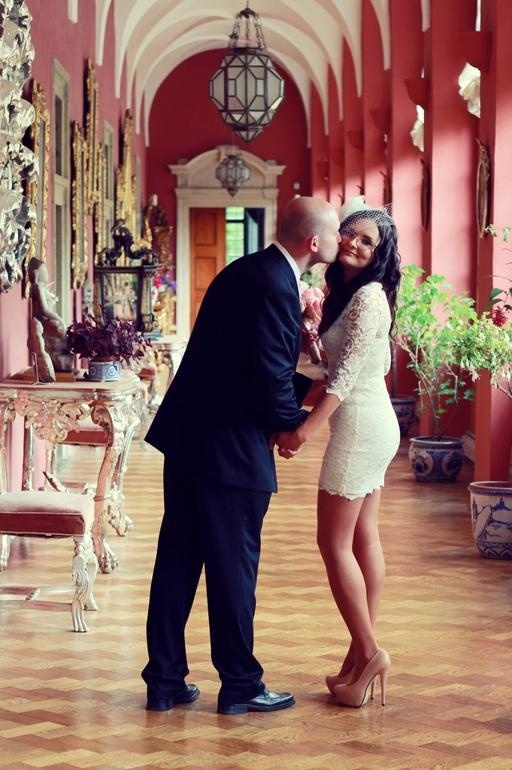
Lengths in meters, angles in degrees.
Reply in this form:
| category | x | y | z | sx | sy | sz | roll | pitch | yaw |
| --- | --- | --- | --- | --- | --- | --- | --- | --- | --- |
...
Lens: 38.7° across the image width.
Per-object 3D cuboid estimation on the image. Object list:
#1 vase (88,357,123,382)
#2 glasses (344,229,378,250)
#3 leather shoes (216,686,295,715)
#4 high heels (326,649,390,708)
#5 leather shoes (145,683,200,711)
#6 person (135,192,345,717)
| category | x | y | z | sx | sy | sz | roll | pitch | yaw |
| --- | --- | --- | --- | --- | --- | --- | --- | --- | --- |
| vase | -0.888 | -0.084 | 4.272 | 0.139 | 0.081 | 0.141 | 4 | 3 | 43 |
| glasses | 0.312 | -0.443 | 2.204 | 0.065 | 0.020 | 0.064 | 12 | -18 | 11 |
| leather shoes | 0.000 | 0.989 | 2.311 | 0.239 | 0.096 | 0.085 | -4 | 2 | -12 |
| high heels | 0.315 | 0.938 | 2.394 | 0.233 | 0.213 | 0.158 | 0 | -3 | 4 |
| leather shoes | -0.261 | 0.996 | 2.319 | 0.066 | 0.078 | 0.178 | 2 | 5 | 31 |
| person | -0.056 | 0.244 | 2.198 | 0.333 | 1.563 | 0.554 | 2 | -2 | -44 |
